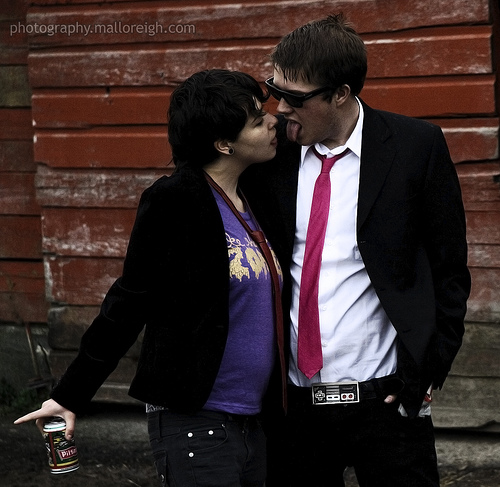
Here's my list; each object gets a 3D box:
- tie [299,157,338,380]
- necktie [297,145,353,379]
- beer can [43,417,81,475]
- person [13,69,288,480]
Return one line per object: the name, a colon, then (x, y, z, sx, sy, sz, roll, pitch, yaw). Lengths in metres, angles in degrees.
tie: (0.250, 0.090, 2.807, 0.116, 0.783, 0.041, 0, -9, 22)
necktie: (0.296, 0.070, 2.856, 0.129, 0.881, 0.291, 4, 12, 22)
beer can: (-0.782, 0.835, 2.964, 0.120, 0.194, 0.116, -12, -3, -1)
person: (-0.235, 0.212, 2.654, 0.516, 1.678, 0.850, 10, 16, 44)
